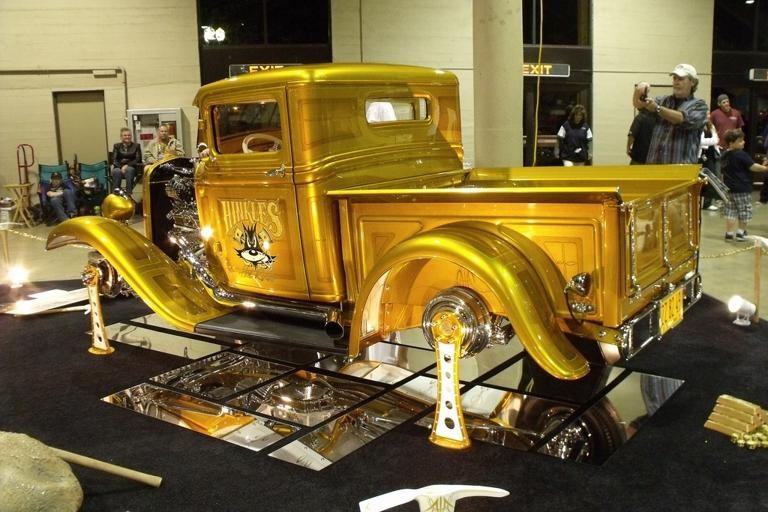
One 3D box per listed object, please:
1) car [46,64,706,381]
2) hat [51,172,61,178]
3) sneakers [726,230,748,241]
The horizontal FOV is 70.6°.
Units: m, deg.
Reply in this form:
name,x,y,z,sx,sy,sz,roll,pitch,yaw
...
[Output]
name,x,y,z,sx,sy,sz,roll,pitch,yaw
car,-0.408,-0.188,4.572,4.943,1.949,2.404,7,13,33
hat,-6.317,-1.554,10.481,0.158,0.104,0.157,0,2,24
sneakers,5.081,-0.281,7.796,0.341,0.132,0.117,0,9,2
